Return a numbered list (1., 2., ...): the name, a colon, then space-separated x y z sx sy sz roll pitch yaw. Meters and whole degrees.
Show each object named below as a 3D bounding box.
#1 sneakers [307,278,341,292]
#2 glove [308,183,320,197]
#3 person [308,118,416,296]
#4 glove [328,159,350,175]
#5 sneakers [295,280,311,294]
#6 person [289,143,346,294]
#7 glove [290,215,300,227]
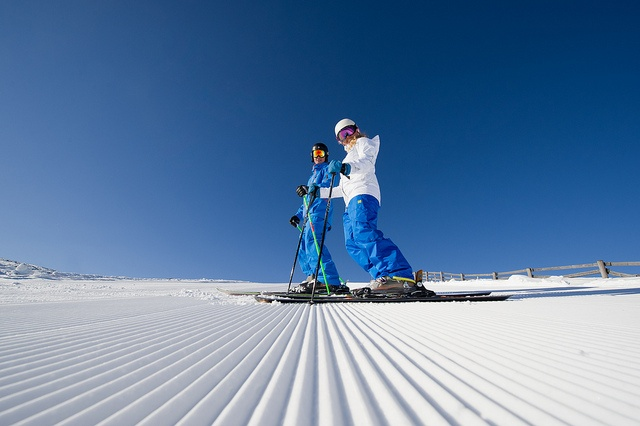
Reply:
1. sneakers: 0.025 0.790 4.075 0.397 0.180 0.139 2 -17 -9
2. glove: -0.076 -0.251 3.767 0.089 0.123 0.064 6 -38 4
3. person: 0.316 0.089 3.554 1.004 1.709 0.930 5 -47 -2
4. glove: 0.189 -0.422 3.536 0.166 0.120 0.285 0 -3 18
5. sneakers: -0.246 0.798 4.038 0.105 0.139 0.308 20 -23 -37
6. person: -0.016 0.189 3.883 0.634 1.710 0.577 11 -59 -7
7. glove: -0.284 0.089 4.175 0.074 0.107 0.094 27 7 -2
